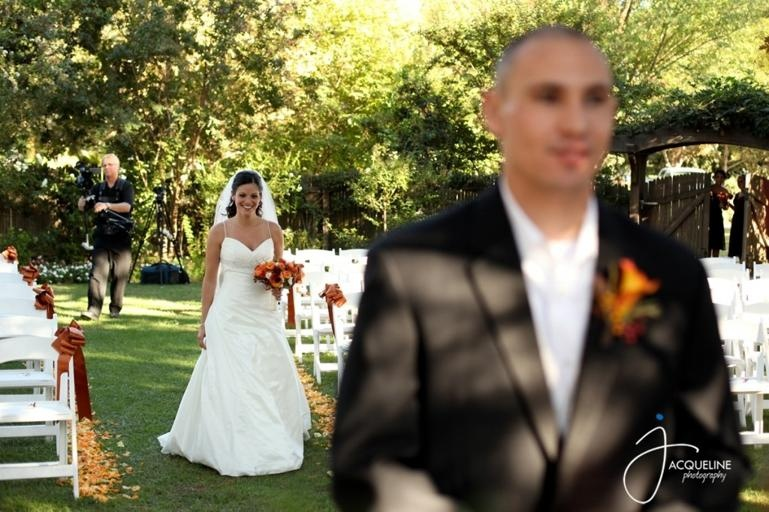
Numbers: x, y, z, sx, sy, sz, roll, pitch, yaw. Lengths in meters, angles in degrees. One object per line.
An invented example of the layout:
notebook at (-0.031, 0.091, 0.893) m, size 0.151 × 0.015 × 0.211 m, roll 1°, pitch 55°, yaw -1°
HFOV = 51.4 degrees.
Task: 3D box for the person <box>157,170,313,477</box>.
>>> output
person at (-1.161, 0.471, 6.374) m, size 1.045 × 2.303 × 0.957 m, roll -1°, pitch 3°, yaw -17°

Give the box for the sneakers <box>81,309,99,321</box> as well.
sneakers at (-4.231, 0.864, 11.597) m, size 0.111 × 0.124 × 0.267 m, roll 13°, pitch 1°, yaw 29°

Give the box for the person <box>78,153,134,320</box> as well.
person at (-3.972, -0.241, 11.481) m, size 0.716 × 2.358 × 1.053 m, roll -2°, pitch 3°, yaw -21°

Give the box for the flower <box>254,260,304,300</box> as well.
flower at (-0.854, 0.207, 6.590) m, size 0.285 × 0.200 × 0.289 m, roll -1°, pitch 4°, yaw 8°
